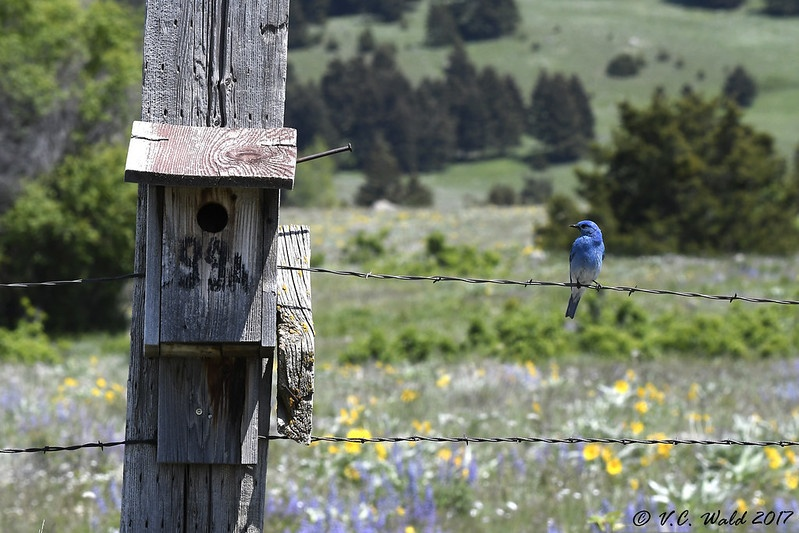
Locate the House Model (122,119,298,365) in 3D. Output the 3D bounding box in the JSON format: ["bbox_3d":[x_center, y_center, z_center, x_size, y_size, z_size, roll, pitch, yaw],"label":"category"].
[{"bbox_3d":[-2.032,-0.272,23.191,2.138,2.810,2.415,0,-5,18],"label":"House Model"}]

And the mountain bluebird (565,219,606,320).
[{"bbox_3d":[2.277,-0.005,24.448,0.412,1.390,0.580,8,31,-5],"label":"mountain bluebird"}]
